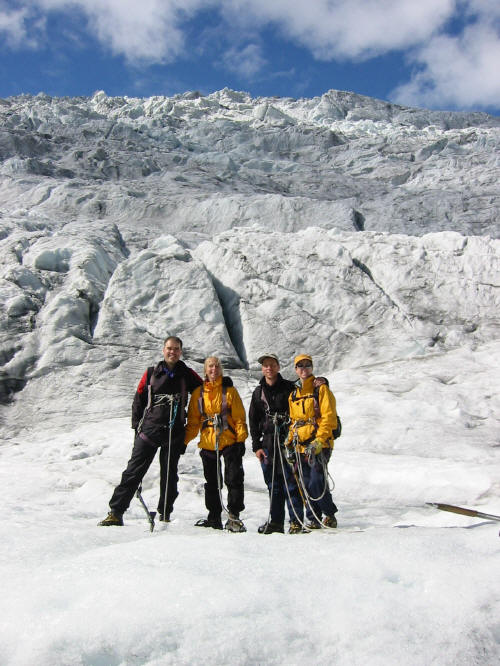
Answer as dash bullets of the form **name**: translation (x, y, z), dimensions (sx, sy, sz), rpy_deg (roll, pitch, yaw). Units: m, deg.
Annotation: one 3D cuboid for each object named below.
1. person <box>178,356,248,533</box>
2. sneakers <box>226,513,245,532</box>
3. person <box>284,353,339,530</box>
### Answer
- **person**: translation (-0.246, 0.921, 4.970), dimensions (0.410, 1.449, 0.727), rpy_deg (-1, 5, -36)
- **sneakers**: translation (-0.114, 1.501, 4.797), dimensions (0.147, 0.088, 0.138), rpy_deg (-10, 24, -25)
- **person**: translation (0.445, 0.840, 4.846), dimensions (0.309, 1.322, 0.463), rpy_deg (-1, 5, -37)
